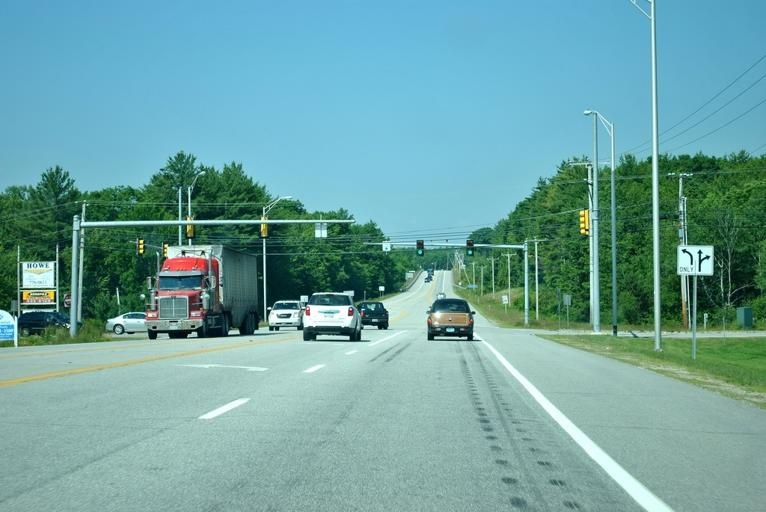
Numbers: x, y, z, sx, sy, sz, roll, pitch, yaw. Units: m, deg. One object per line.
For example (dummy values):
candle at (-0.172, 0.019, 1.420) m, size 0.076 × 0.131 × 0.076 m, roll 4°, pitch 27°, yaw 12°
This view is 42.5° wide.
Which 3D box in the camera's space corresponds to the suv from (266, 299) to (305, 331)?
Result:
suv at (-5.833, 3.480, 59.828) m, size 1.378 × 1.145 × 2.865 m, roll -1°, pitch -8°, yaw 4°

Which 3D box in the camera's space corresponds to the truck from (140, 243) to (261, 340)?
truck at (-8.375, 1.710, 47.496) m, size 3.142 × 4.520 × 10.242 m, roll -2°, pitch -6°, yaw 7°

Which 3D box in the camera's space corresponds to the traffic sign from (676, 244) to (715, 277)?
traffic sign at (10.143, 0.061, 32.108) m, size 1.048 × 1.049 × 0.989 m, roll -3°, pitch -5°, yaw 13°

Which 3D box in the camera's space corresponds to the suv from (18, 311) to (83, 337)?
suv at (-17.419, 3.484, 51.313) m, size 3.449 × 1.314 × 1.593 m, roll -2°, pitch -2°, yaw 1°

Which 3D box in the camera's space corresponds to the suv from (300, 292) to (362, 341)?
suv at (-1.985, 2.336, 38.969) m, size 2.158 × 1.912 × 1.460 m, roll -1°, pitch -5°, yaw -10°
